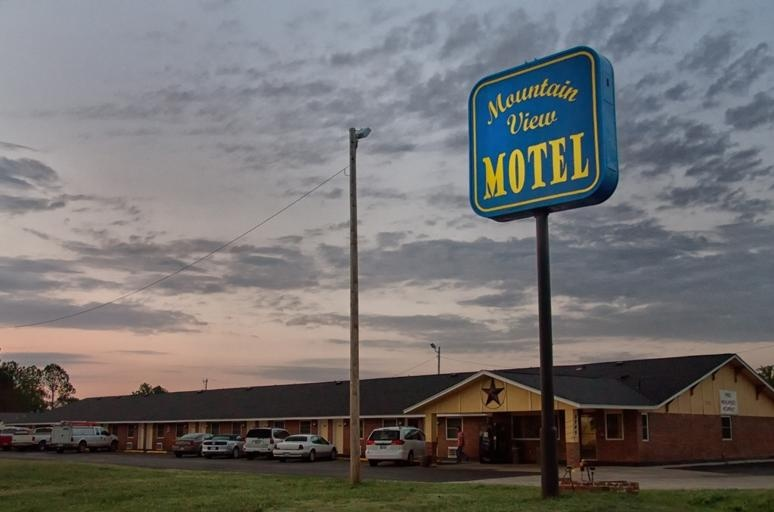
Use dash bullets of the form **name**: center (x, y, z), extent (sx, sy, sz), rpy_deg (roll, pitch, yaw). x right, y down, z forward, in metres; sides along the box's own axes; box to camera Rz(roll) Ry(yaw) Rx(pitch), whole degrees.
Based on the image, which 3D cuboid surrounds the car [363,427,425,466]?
- **car**: center (0.898, 11.767, 51.936), extent (2.145, 1.422, 3.615), rpy_deg (-5, -7, 27)
